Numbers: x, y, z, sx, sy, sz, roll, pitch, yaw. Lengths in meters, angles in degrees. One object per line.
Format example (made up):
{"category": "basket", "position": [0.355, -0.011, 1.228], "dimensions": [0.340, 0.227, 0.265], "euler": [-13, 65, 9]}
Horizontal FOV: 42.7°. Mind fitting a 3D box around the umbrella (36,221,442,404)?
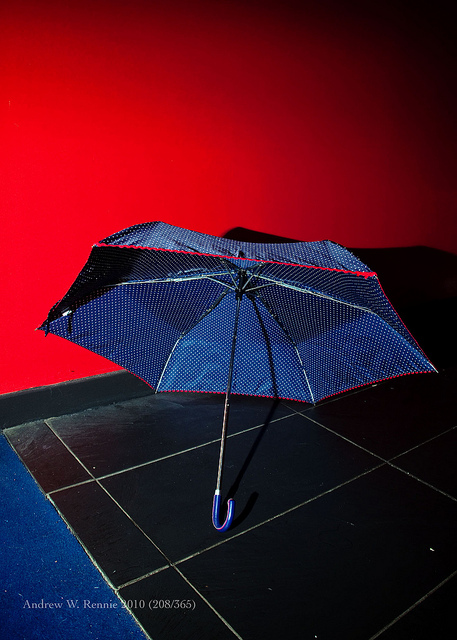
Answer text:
{"category": "umbrella", "position": [0.004, -0.042, 1.931], "dimensions": [0.921, 0.305, 0.888], "euler": [2, -32, 29]}
